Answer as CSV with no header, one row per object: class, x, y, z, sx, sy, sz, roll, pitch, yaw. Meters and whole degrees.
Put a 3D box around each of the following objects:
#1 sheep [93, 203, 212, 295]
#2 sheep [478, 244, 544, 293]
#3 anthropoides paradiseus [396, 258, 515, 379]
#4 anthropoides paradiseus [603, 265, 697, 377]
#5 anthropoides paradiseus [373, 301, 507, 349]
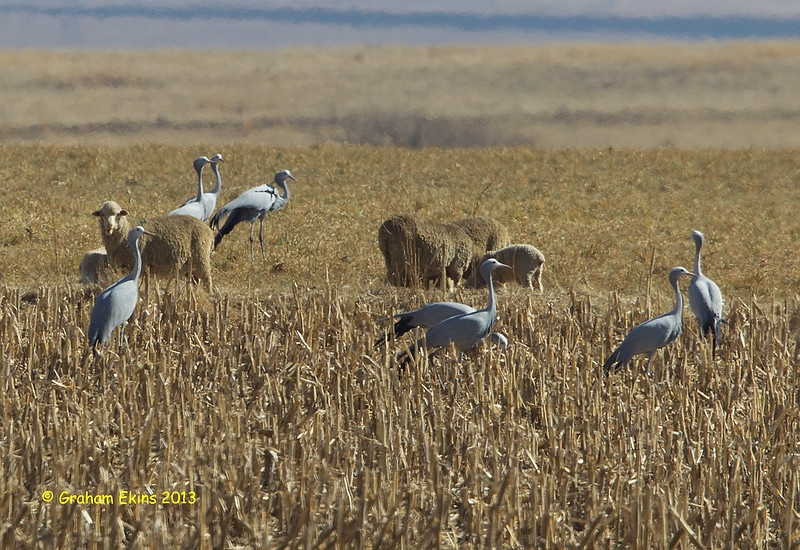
sheep,-4.303,-0.480,24.397,2.282,1.470,0.809,-3,13,-40
sheep,1.969,-0.155,26.088,0.491,0.887,1.758,17,-6,-43
anthropoides paradiseus,0.714,0.754,20.073,1.863,1.844,0.546,-5,8,-5
anthropoides paradiseus,3.577,0.765,20.273,1.610,1.315,0.552,-17,29,-40
anthropoides paradiseus,0.611,0.767,20.304,2.019,0.752,0.469,6,7,4
